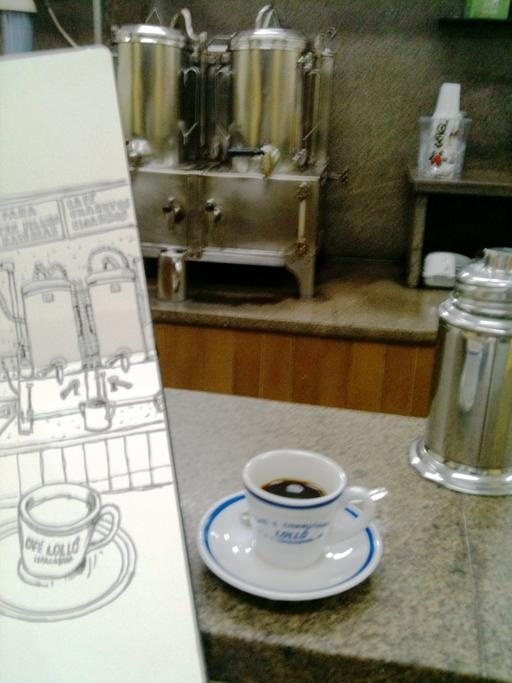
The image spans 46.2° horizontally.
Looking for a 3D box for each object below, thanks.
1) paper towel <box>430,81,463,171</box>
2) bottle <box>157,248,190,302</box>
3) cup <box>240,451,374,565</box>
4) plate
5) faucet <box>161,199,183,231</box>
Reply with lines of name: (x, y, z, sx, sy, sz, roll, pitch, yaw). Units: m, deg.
paper towel: (0.482, -0.540, 1.519, 0.073, 0.206, 0.086, 7, 22, 15)
bottle: (-0.206, -0.161, 1.476, 0.072, 0.119, 0.070, 1, 21, 0)
cup: (0.036, 0.115, 0.443, 0.089, 0.058, 0.071, 3, 19, 3)
plate: (0.017, 0.148, 0.430, 0.135, 0.017, 0.108, 10, 23, 22)
faucet: (-0.200, -0.308, 1.456, 0.055, 0.079, 0.049, -2, 22, -8)
